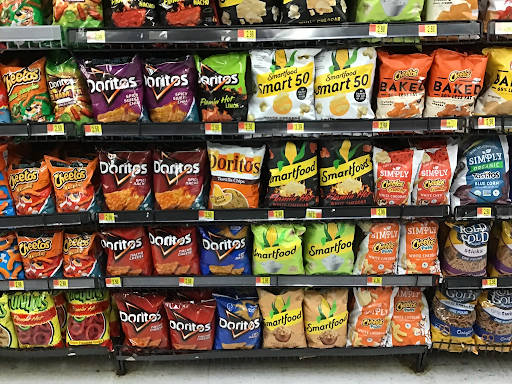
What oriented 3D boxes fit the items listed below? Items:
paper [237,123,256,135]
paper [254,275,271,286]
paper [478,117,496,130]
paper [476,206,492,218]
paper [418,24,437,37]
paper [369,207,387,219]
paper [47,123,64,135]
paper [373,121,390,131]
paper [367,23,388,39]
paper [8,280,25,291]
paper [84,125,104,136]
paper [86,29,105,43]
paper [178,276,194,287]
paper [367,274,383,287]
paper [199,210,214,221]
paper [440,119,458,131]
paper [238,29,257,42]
[{"bbox_3d":[-0.048,-0.376,2.788,0.110,0.068,0.058,2,16,4],"label":"paper"},{"bbox_3d":[0.051,0.556,2.979,0.106,0.069,0.056,1,-1,-1],"label":"paper"},{"bbox_3d":[1.359,-0.403,2.778,0.119,0.077,0.062,1,-5,2],"label":"paper"},{"bbox_3d":[1.395,0.115,2.878,0.074,0.048,0.008,1,12,4],"label":"paper"},{"bbox_3d":[0.982,-0.909,2.681,0.124,0.076,0.065,0,12,6],"label":"paper"},{"bbox_3d":[0.754,0.124,2.887,0.110,0.067,0.060,0,3,1],"label":"paper"},{"bbox_3d":[-1.167,-0.362,2.775,0.103,0.067,0.031,-1,23,7],"label":"paper"},{"bbox_3d":[0.741,-0.388,2.781,0.098,0.057,0.036,0,23,10],"label":"paper"},{"bbox_3d":[0.698,-0.914,2.691,0.101,0.067,0.007,0,-1,-3],"label":"paper"},{"bbox_3d":[-1.494,0.578,2.967,0.103,0.063,0.055,2,7,2],"label":"paper"},{"bbox_3d":[-0.949,-0.362,2.776,0.112,0.072,0.059,2,18,1],"label":"paper"},{"bbox_3d":[-0.900,-0.872,2.681,0.125,0.081,0.066,2,18,1],"label":"paper"},{"bbox_3d":[-0.431,0.559,2.988,0.070,0.044,0.010,0,-9,0],"label":"paper"},{"bbox_3d":[0.755,0.556,2.988,0.106,0.065,0.059,3,38,5],"label":"paper"},{"bbox_3d":[-0.297,0.138,2.896,0.069,0.045,0.009,0,3,-1],"label":"paper"},{"bbox_3d":[1.145,-0.396,2.791,0.116,0.072,0.061,1,10,6],"label":"paper"},{"bbox_3d":[-0.048,-0.884,2.690,0.122,0.075,0.064,1,15,1],"label":"paper"}]
